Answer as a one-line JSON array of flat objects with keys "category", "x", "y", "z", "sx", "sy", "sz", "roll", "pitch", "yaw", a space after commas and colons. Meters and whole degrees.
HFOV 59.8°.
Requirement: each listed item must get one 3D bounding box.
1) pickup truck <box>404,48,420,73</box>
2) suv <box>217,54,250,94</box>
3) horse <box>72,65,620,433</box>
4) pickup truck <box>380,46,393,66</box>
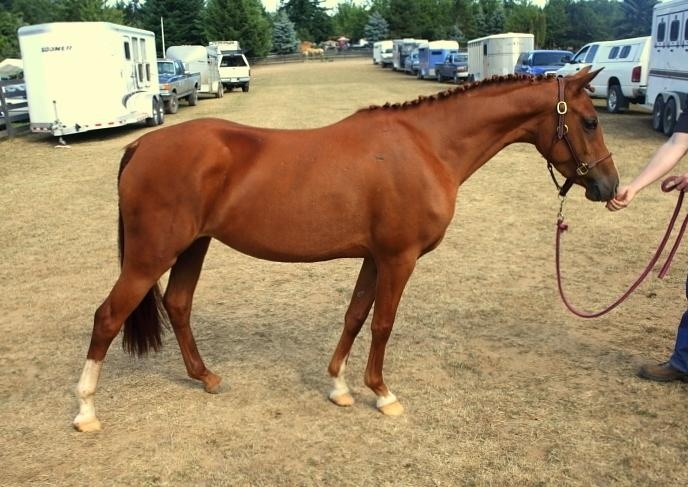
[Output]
[{"category": "pickup truck", "x": 5.211, "y": -13.678, "z": 45.607, "sx": 1.177, "sy": 0.998, "sz": 2.817, "roll": -6, "pitch": 28, "yaw": -4}, {"category": "suv", "x": -6.032, "y": -9.259, "z": 32.552, "sx": 1.472, "sy": 1.483, "sz": 2.651, "roll": 0, "pitch": 27, "yaw": -4}, {"category": "horse", "x": 0.053, "y": 0.034, "z": 4.972, "sx": 4.202, "sy": 2.694, "sz": 0.986, "roll": -1, "pitch": 9, "yaw": -6}, {"category": "pickup truck", "x": 4.289, "y": -18.352, "z": 59.945, "sx": 1.138, "sy": 0.990, "sz": 2.062, "roll": -2, "pitch": 24, "yaw": -5}]
